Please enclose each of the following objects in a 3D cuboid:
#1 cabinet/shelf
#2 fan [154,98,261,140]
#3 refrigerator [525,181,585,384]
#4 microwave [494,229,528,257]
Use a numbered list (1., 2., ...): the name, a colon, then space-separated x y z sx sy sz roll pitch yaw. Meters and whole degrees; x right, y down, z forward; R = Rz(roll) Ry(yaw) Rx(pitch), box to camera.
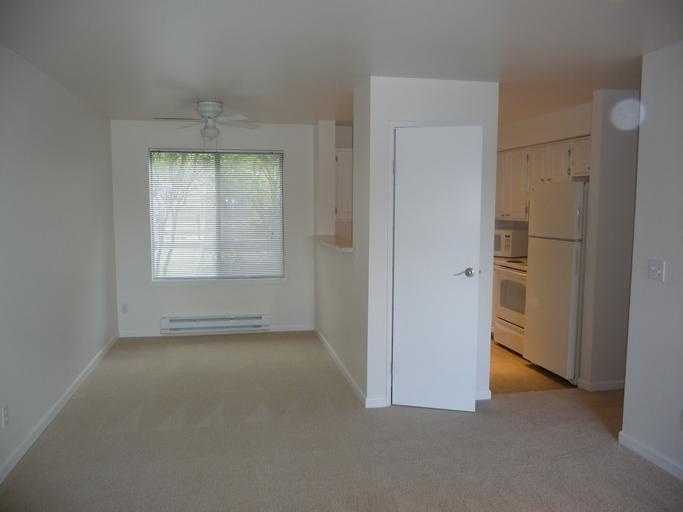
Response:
1. cabinet/shelf: 2.317 -1.023 5.807 0.722 0.924 1.375 -2 8 -12
2. fan: -1.524 -1.476 5.357 0.832 0.350 1.769 -4 11 -24
3. refrigerator: 2.194 0.217 5.031 0.285 1.957 0.787 -1 9 -8
4. microwave: 2.144 -0.213 6.287 0.299 0.404 0.548 -1 7 -11
